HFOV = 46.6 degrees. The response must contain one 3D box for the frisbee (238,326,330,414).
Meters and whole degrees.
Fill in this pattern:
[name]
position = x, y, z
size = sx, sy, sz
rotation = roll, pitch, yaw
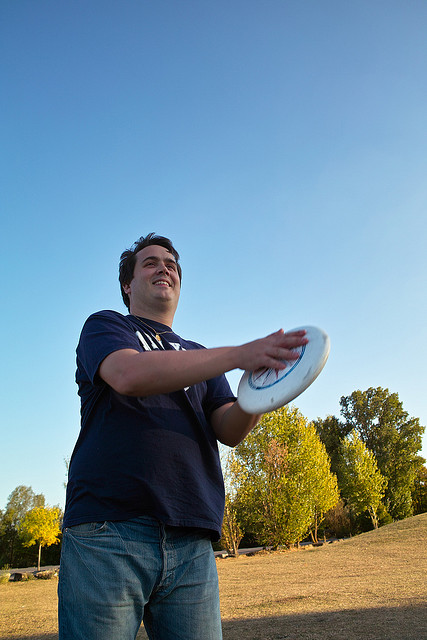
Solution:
[frisbee]
position = 0.269, 0.198, 1.876
size = 0.105, 0.420, 0.417
rotation = 46, -20, -16
